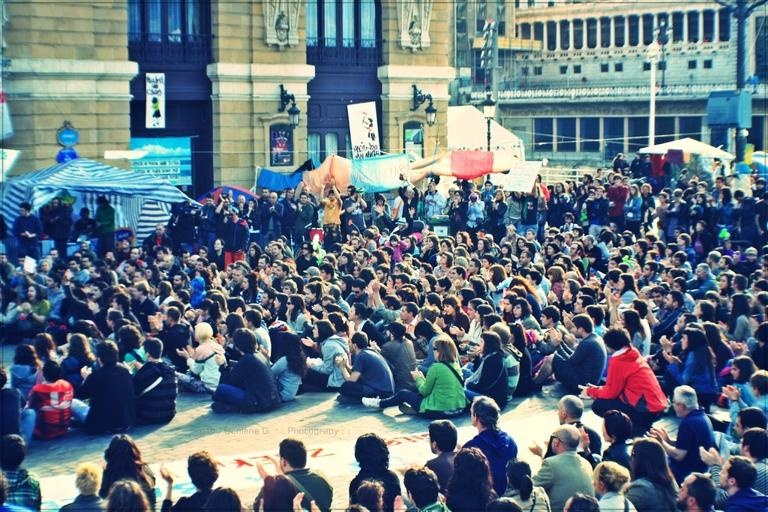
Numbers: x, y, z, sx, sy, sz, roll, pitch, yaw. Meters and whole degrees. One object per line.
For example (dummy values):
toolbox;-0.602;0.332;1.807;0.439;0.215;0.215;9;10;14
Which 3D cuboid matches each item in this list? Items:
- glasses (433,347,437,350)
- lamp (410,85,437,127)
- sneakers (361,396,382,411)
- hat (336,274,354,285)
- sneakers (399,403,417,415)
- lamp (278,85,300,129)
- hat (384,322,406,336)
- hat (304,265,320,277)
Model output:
glasses;1.065;1.998;27.582;0.061;0.069;0.069;0;0;4
lamp;1.421;-5.611;47.118;0.922;1.430;0.564;4;11;12
sneakers;-0.283;3.229;27.961;0.498;0.183;0.220;5;8;3
hat;-0.982;0.604;31.697;0.308;0.270;0.232;5;14;11
sneakers;0.502;3.318;27.897;0.280;0.156;0.389;3;-1;2
lamp;-3.363;-5.245;44.437;0.802;1.410;0.468;0;7;-5
hat;0.216;1.602;28.198;0.279;0.340;0.314;-2;-12;-42
hat;-1.919;0.409;33.228;0.347;0.187;0.258;17;20;16
